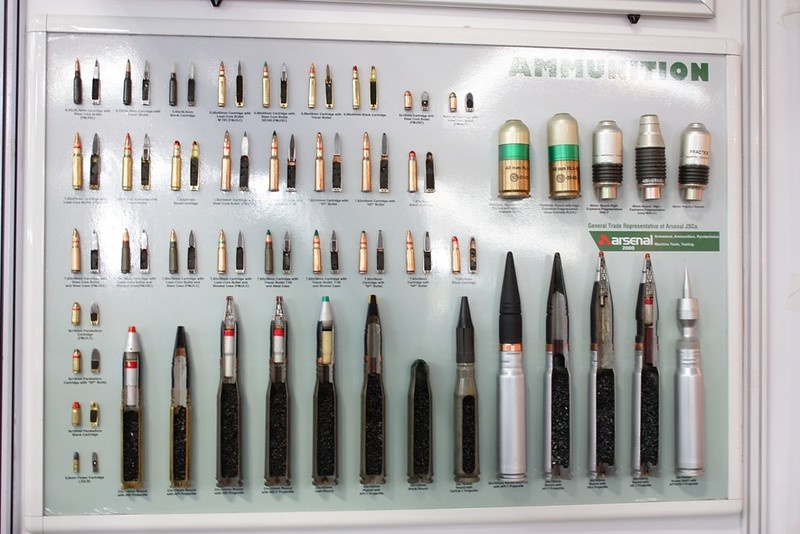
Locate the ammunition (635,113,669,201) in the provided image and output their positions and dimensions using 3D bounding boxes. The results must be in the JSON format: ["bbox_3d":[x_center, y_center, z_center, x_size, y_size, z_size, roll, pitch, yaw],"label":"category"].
[{"bbox_3d":[0.828,-0.364,3.051,0.093,0.262,0.086,-5,-16,15],"label":"ammunition"}]

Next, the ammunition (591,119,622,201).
[{"bbox_3d":[0.692,-0.353,3.052,0.109,0.245,0.123,-2,-15,3],"label":"ammunition"}]

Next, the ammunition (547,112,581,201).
[{"bbox_3d":[0.543,-0.363,3.047,0.111,0.269,0.131,-4,-15,9],"label":"ammunition"}]

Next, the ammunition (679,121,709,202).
[{"bbox_3d":[0.979,-0.350,3.075,0.097,0.243,0.107,-1,-15,0],"label":"ammunition"}]
